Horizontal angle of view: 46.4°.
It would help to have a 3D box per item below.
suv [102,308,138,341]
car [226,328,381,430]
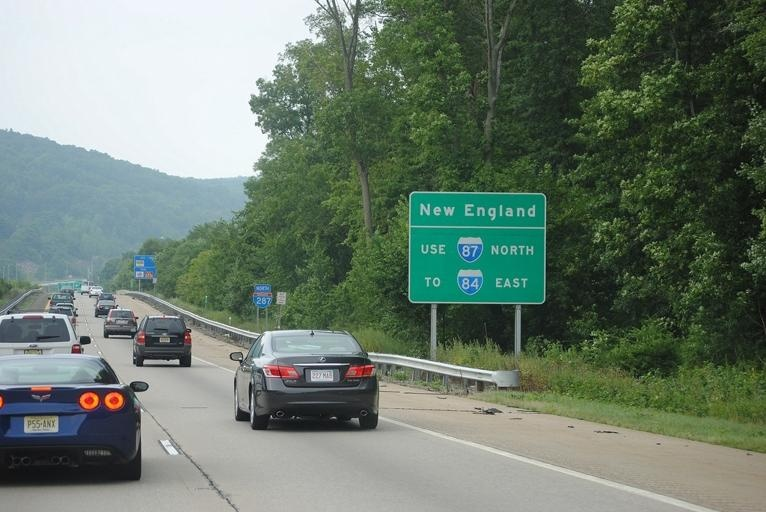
[{"bbox_3d":[-16.834,4.380,56.954,1.857,1.797,1.922,0,1,-22],"label":"suv"},{"bbox_3d":[-1.754,2.841,20.210,3.216,2.216,1.803,1,2,5],"label":"car"}]
